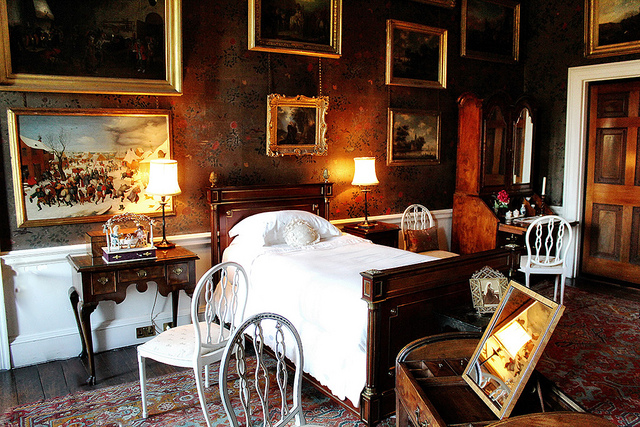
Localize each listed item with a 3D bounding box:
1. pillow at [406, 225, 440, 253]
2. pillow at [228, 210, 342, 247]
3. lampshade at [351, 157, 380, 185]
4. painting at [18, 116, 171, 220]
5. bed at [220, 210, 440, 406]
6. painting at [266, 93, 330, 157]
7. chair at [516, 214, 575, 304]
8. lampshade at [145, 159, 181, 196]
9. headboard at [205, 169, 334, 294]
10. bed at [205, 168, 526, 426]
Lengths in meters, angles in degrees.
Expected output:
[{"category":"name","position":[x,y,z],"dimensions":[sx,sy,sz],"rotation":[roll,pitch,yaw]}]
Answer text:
[{"category":"pillow","position":[1.450,0.338,5.963],"dimensions":[0.584,0.359,0.160],"rotation":[-3,-2,-31]},{"category":"pillow","position":[-0.425,0.117,4.980],"dimensions":[0.758,0.222,0.554],"rotation":[-5,9,-28]},{"category":"lampshade","position":[0.607,-0.551,5.603],"dimensions":[0.374,0.341,0.336],"rotation":[0,2,12]},{"category":"painting","position":[-2.414,-0.493,4.469],"dimensions":[1.146,0.816,0.042],"rotation":[-4,11,-31]},{"category":"bed","position":[0.122,0.712,4.852],"dimensions":[1.802,1.266,2.924],"rotation":[-9,12,-37]},{"category":"painting","position":[-0.286,-1.113,5.411],"dimensions":[0.910,0.789,0.095],"rotation":[8,14,29]},{"category":"chair","position":[3.160,0.543,5.956],"dimensions":[0.613,1.204,1.971],"rotation":[2,8,30]},{"category":"lampshade","position":[-1.685,-0.423,4.589],"dimensions":[0.387,0.361,0.363],"rotation":[7,12,23]},{"category":"headboard","position":[-0.621,0.197,4.727],"dimensions":[1.458,1.403,0.199],"rotation":[-4,5,-34]},{"category":"bed","position":[0.103,0.657,4.807],"dimensions":[2.316,2.095,3.125],"rotation":[-7,10,-32]}]
